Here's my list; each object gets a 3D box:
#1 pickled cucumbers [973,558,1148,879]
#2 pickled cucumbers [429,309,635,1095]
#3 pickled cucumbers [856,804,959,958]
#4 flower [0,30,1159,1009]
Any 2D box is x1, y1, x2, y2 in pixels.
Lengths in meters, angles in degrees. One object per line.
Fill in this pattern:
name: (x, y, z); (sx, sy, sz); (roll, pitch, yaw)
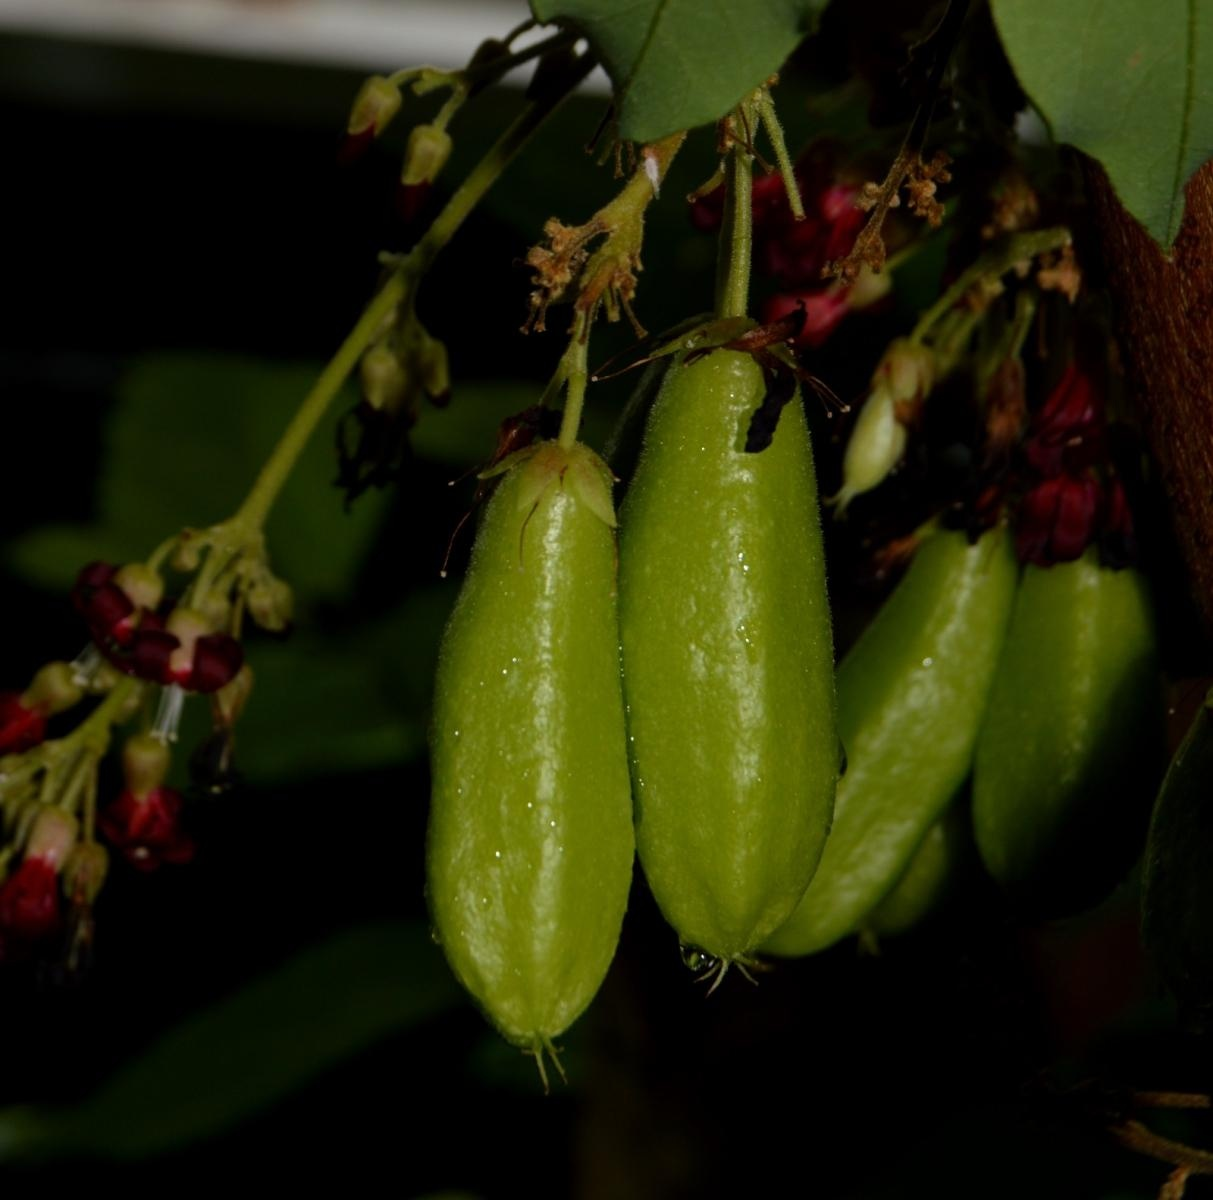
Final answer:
pickled cucumbers: (0.192, 0.053, 0.674); (0.061, 0.123, 0.039); (17, -3, 32)
pickled cucumbers: (-0.023, 0.042, 0.514); (0.064, 0.170, 0.120); (2, 34, -6)
pickled cucumbers: (0.131, 0.115, 0.706); (0.035, 0.062, 0.049); (28, -3, 4)
flower: (0.057, 0.007, 0.639); (0.336, 0.459, 0.161); (-1, 20, -3)
